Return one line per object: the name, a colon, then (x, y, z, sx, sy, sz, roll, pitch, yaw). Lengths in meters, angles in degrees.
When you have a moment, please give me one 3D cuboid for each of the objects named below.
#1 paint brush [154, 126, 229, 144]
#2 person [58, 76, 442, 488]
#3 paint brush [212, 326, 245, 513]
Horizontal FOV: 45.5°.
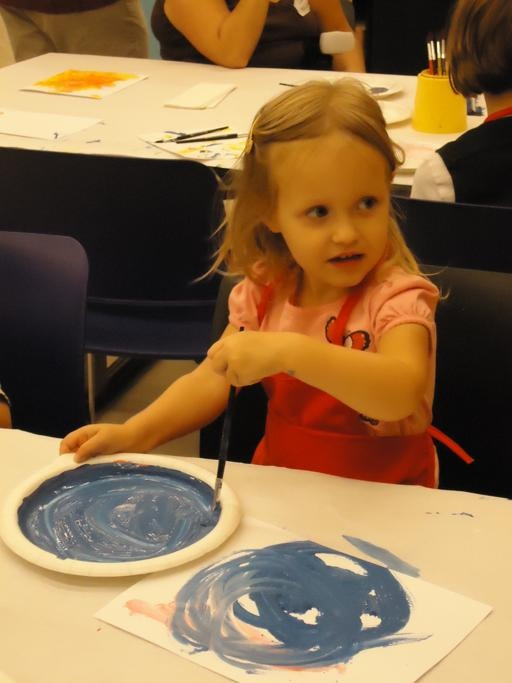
paint brush: (-0.176, -0.590, 1.761, 0.224, 0.012, 0.069, -8, 35, -8)
person: (0.032, 0.003, 0.908, 0.344, 0.681, 0.412, 24, 38, 31)
paint brush: (-0.032, 0.119, 0.711, 0.019, 0.173, 0.010, 16, -21, -27)
